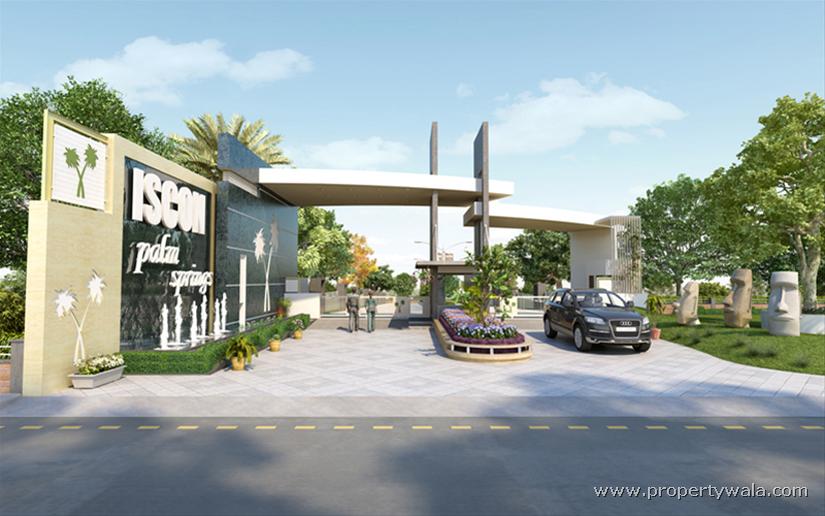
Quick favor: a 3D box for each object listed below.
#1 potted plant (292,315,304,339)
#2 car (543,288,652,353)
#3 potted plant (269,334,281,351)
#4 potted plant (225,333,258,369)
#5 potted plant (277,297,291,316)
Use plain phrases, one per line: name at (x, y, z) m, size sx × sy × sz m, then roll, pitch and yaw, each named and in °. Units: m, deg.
potted plant at (-5.430, 3.326, 28.663) m, size 0.521 × 0.913 × 1.451 m, roll -3°, pitch 4°, yaw -12°
car at (7.689, 2.599, 26.061) m, size 2.856 × 2.477 × 5.514 m, roll -3°, pitch 4°, yaw -17°
potted plant at (-5.571, 3.555, 24.840) m, size 0.509 × 0.586 × 0.523 m, roll -4°, pitch -13°, yaw 13°
potted plant at (-6.131, 3.437, 21.995) m, size 1.330 × 1.108 × 1.098 m, roll -5°, pitch 6°, yaw -42°
potted plant at (-6.900, 2.666, 32.685) m, size 0.448 × 0.906 × 0.870 m, roll 2°, pitch 5°, yaw 37°
